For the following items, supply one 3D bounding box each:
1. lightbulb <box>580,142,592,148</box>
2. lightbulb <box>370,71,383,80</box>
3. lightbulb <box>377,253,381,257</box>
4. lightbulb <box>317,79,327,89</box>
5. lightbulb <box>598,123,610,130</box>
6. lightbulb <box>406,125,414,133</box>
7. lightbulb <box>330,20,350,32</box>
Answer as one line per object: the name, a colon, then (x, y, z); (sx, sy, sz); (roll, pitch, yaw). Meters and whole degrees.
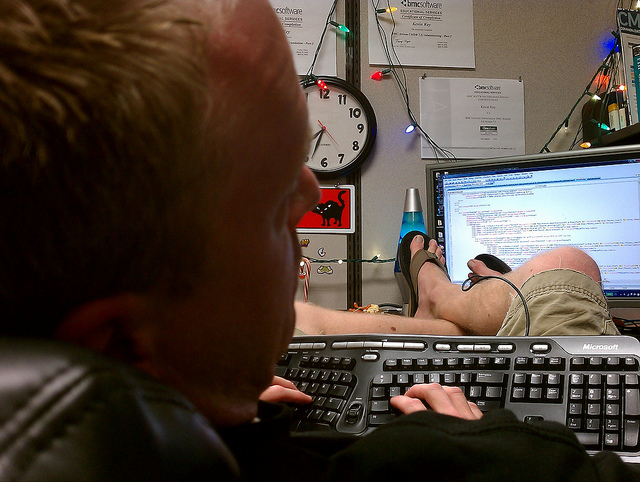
lightbulb: (0.652, -0.235, 1.366); (0.027, 0.013, 0.006); (-11, 5, -15)
lightbulb: (0.145, -0.423, 1.429); (0.030, 0.020, 0.010); (3, 24, 4)
lightbulb: (0.148, 0.038, 1.405); (0.008, 0.005, 0.005); (-6, 25, -17)
lightbulb: (0.006, -0.395, 1.409); (0.024, 0.023, 0.016); (0, 24, -2)
lightbulb: (0.688, -0.277, 1.353); (0.026, 0.012, 0.023); (12, 26, 21)
lightbulb: (0.231, -0.287, 1.430); (0.020, 0.018, 0.014); (-16, 29, -33)
lightbulb: (0.049, -0.546, 1.421); (0.037, 0.009, 0.009); (35, 51, 16)
